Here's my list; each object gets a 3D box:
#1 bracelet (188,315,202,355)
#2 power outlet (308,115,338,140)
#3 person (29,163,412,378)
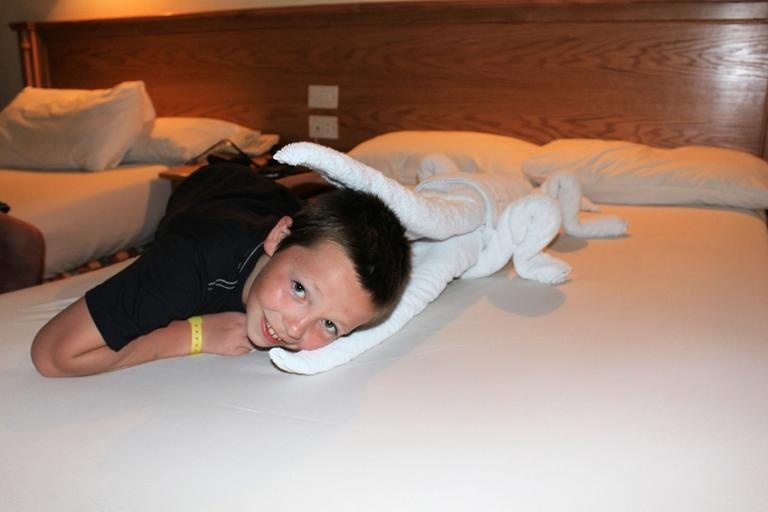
[{"bbox_3d":[-0.436,0.186,1.269,0.021,0.061,0.071,-3,8,-5],"label":"bracelet"},{"bbox_3d":[-0.301,-0.648,2.736,0.143,0.090,0.018,7,23,21],"label":"power outlet"},{"bbox_3d":[-0.455,-0.005,1.745,0.766,0.458,1.259,16,8,-23],"label":"person"}]
